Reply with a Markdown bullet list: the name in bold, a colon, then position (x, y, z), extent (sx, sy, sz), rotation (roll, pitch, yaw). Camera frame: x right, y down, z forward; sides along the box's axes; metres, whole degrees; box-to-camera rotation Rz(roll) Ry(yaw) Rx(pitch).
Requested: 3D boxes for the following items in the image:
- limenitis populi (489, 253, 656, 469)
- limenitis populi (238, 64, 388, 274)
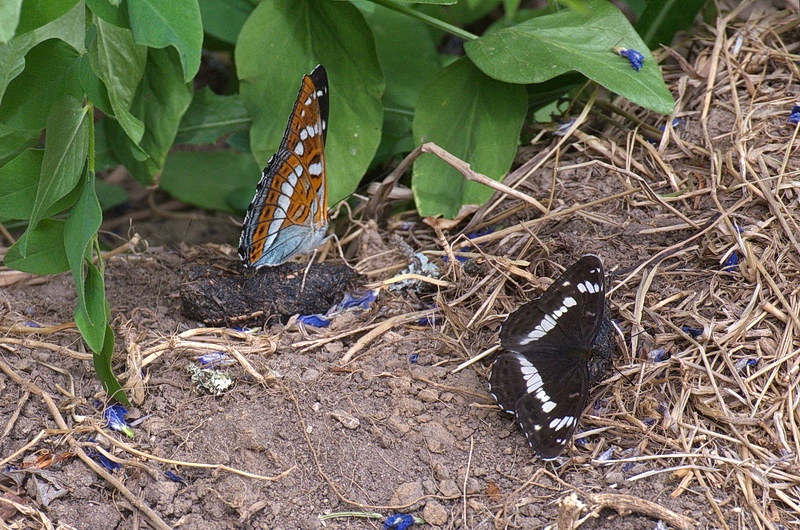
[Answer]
- **limenitis populi**: position (0.500, 0.260, 2.424), extent (0.379, 0.361, 0.464), rotation (40, 51, 14)
- **limenitis populi**: position (-0.341, -0.262, 2.628), extent (0.265, 0.604, 0.429), rotation (19, 49, -3)
